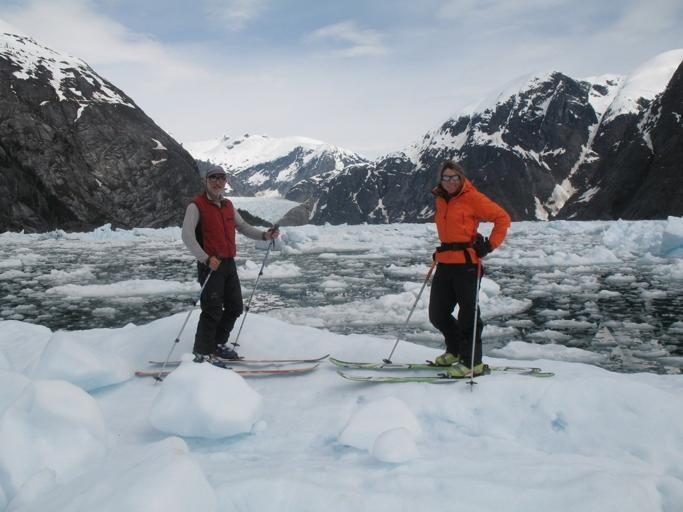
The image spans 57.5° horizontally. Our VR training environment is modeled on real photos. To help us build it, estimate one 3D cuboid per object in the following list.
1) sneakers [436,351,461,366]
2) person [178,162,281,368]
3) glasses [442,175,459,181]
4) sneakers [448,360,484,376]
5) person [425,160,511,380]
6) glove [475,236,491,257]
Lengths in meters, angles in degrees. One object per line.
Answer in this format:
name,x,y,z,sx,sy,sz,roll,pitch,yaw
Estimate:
sneakers,1.160,1.137,6.784,0.245,0.075,0.127,1,2,3
person,-1.464,0.112,6.983,0.595,2.225,0.891,2,14,8
glasses,1.140,-0.812,6.490,0.173,0.058,0.046,1,13,4
sneakers,1.310,1.175,6.430,0.409,0.099,0.145,3,-3,-24
person,1.181,0.136,6.504,0.712,2.198,0.798,-13,18,-42
glove,1.479,-0.095,6.514,0.175,0.246,0.378,2,12,11
